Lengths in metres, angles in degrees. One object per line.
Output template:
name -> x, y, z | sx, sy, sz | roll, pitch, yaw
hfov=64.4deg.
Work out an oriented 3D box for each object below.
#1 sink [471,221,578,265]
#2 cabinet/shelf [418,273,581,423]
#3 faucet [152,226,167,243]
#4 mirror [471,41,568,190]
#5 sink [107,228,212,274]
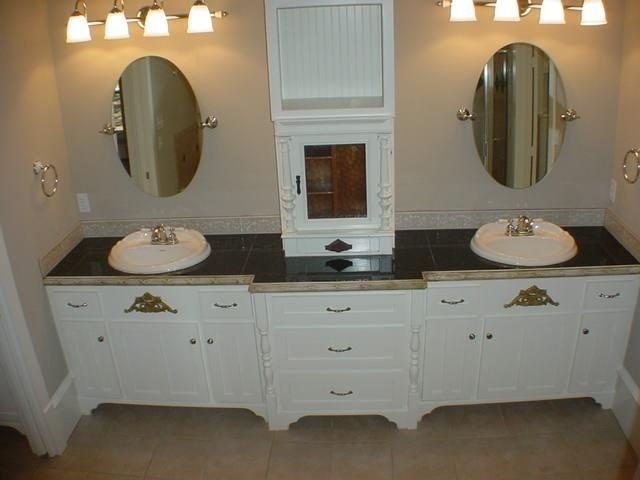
sink -> 1.304, 0.018, 3.234 | 0.409, 0.156, 0.397 | -4, 26, 7
cabinet/shelf -> 1.124, 0.640, 3.185 | 0.907, 0.820, 0.361 | -1, 21, 1
faucet -> -1.089, -0.033, 3.434 | 0.094, 0.107, 0.108 | 2, -1, -13
mirror -> 1.297, -0.853, 3.286 | 0.758, 1.154, 0.132 | -3, 20, 2
sink -> -1.051, 0.092, 3.345 | 0.649, 0.174, 0.493 | -4, 25, -2
